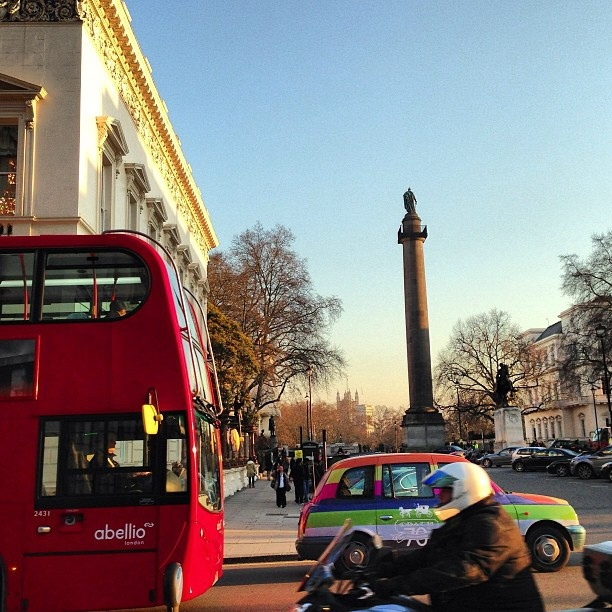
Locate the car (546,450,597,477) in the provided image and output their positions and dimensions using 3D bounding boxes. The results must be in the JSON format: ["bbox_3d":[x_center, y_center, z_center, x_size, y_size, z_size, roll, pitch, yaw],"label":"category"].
[{"bbox_3d":[14.382,8.705,32.847,1.786,0.704,0.895,-8,-1,2],"label":"car"}]

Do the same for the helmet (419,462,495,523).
[{"bbox_3d":[0.843,1.018,3.518,0.357,0.317,0.277,-17,1,-3],"label":"helmet"}]
